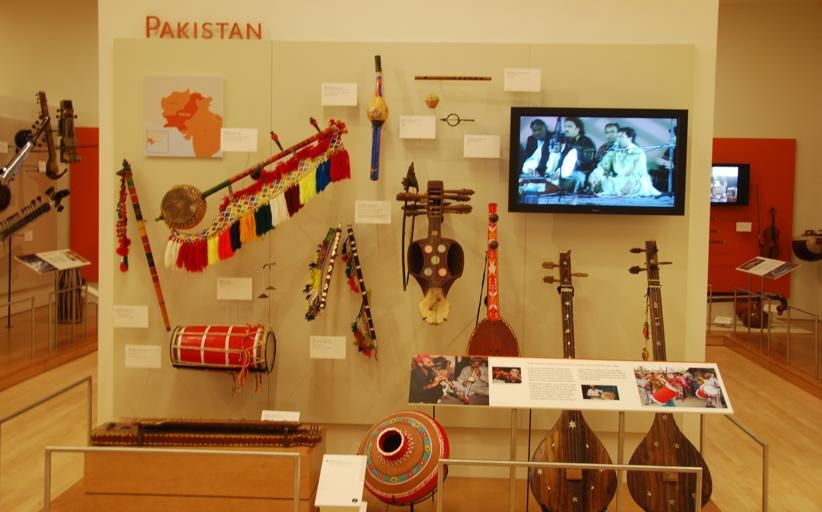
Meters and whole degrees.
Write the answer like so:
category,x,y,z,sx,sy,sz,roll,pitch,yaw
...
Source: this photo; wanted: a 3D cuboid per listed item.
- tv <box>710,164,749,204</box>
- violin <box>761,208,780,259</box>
category,x,y,z,sx,sy,sz,roll,pitch,yaw
tv,4.487,-1.033,10.296,0.614,0.698,0.068,2,13,6
violin,5.116,-0.336,10.422,0.274,0.706,0.154,0,8,-7
